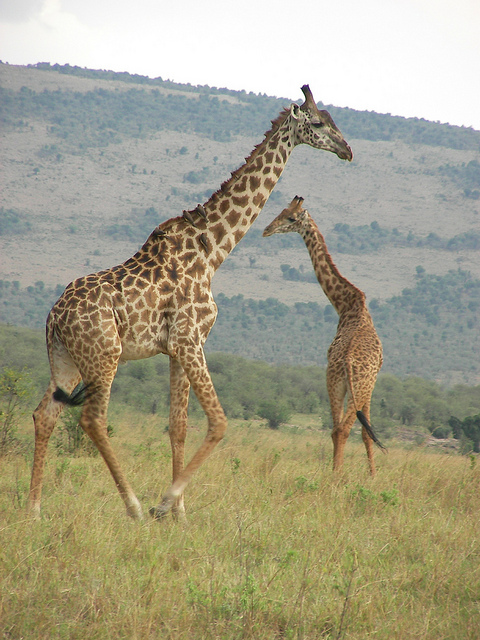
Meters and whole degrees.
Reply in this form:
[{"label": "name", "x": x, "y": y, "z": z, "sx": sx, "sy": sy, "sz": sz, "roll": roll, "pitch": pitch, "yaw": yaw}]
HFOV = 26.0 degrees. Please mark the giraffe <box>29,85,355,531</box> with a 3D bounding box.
[{"label": "giraffe", "x": -0.472, "y": -0.227, "z": 9.363, "sx": 3.361, "sy": 3.745, "sz": 1.624, "roll": -10, "pitch": 25, "yaw": -44}]
